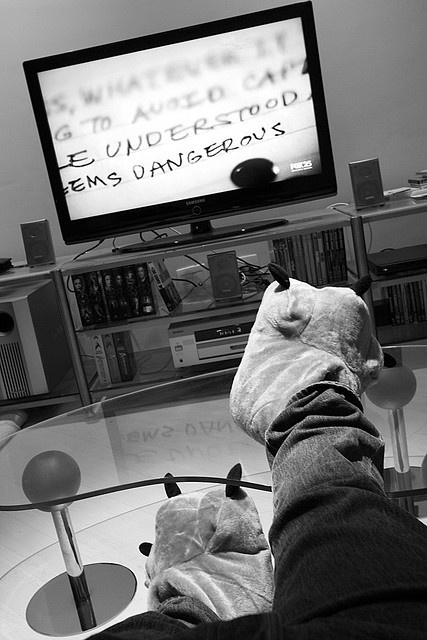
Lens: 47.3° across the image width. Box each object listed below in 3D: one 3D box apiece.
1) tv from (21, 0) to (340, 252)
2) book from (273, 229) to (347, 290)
[{"bbox_3d":[-0.148,-0.913,2.238,1.171,0.808,0.302,-10,27,11],"label":"tv"},{"bbox_3d":[0.448,-0.281,2.416,0.365,0.351,0.271,-4,5,4],"label":"book"}]
